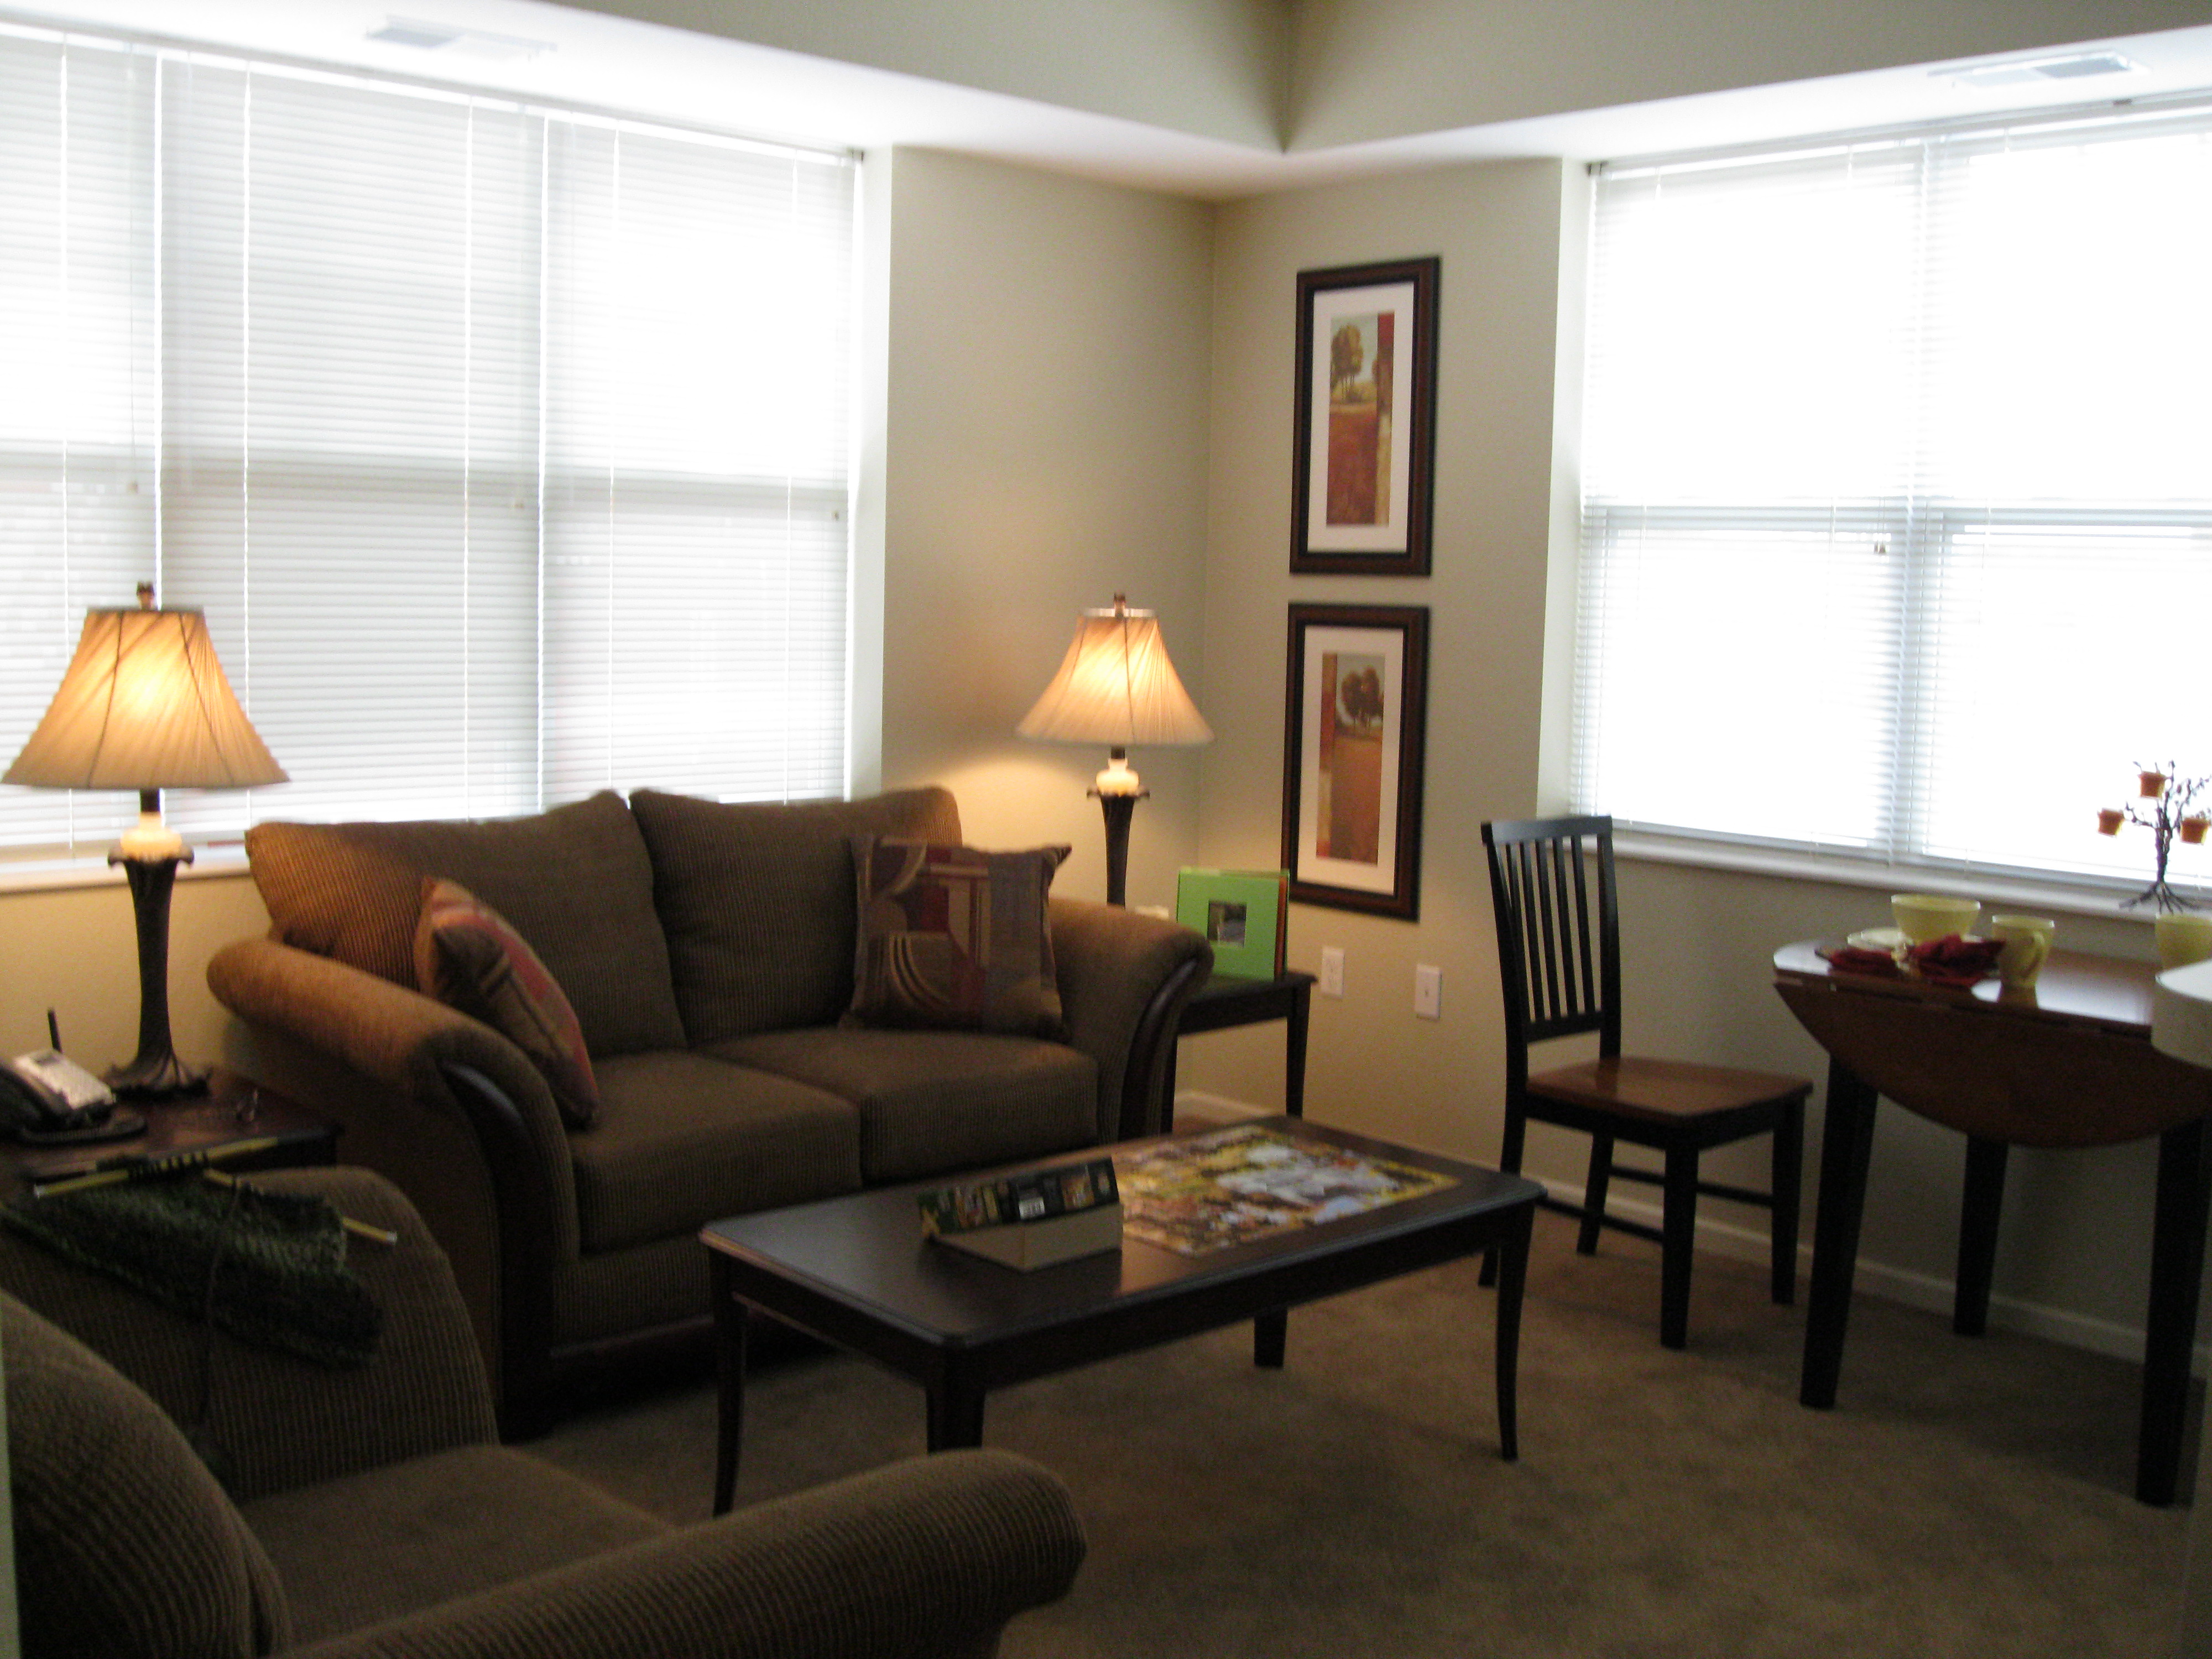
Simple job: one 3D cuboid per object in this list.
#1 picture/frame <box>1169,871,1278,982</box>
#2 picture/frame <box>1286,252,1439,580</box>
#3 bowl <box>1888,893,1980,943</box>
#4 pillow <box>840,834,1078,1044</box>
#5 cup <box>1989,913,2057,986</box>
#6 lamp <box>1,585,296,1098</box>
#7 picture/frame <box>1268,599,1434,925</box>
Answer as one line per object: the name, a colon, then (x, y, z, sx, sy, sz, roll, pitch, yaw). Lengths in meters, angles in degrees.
picture/frame: (0.314, 0.261, 4.581, 0.255, 0.271, 0.026, 1, -9, 3)
picture/frame: (0.739, -1.161, 5.081, 0.520, 0.864, 0.072, 11, 13, 42)
bowl: (1.763, 0.185, 3.756, 0.131, 0.080, 0.135, 1, 2, 0)
pillow: (-0.363, 0.284, 4.275, 0.427, 0.413, 0.152, 2, -18, -3)
cup: (1.851, 0.252, 3.608, 0.141, 0.137, 0.095, 0, 1, 2)
lamp: (-1.966, -0.008, 3.632, 0.475, 0.973, 0.591, -6, 13, -39)
picture/frame: (0.721, -0.206, 5.154, 0.526, 0.879, 0.075, 10, 13, 41)
